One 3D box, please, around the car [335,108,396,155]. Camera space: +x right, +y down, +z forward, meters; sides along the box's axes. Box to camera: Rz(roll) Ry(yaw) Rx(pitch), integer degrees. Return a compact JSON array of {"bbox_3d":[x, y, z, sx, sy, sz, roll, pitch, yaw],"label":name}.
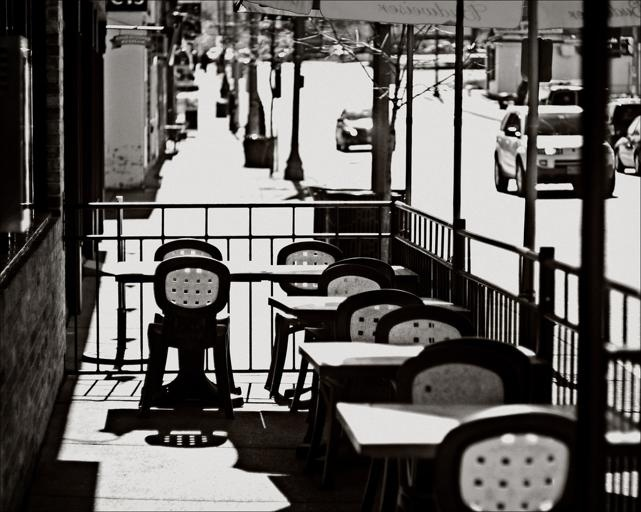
[{"bbox_3d":[1.328,-4.905,29.836,1.321,1.676,5.126,-1,10,3],"label":"car"}]
